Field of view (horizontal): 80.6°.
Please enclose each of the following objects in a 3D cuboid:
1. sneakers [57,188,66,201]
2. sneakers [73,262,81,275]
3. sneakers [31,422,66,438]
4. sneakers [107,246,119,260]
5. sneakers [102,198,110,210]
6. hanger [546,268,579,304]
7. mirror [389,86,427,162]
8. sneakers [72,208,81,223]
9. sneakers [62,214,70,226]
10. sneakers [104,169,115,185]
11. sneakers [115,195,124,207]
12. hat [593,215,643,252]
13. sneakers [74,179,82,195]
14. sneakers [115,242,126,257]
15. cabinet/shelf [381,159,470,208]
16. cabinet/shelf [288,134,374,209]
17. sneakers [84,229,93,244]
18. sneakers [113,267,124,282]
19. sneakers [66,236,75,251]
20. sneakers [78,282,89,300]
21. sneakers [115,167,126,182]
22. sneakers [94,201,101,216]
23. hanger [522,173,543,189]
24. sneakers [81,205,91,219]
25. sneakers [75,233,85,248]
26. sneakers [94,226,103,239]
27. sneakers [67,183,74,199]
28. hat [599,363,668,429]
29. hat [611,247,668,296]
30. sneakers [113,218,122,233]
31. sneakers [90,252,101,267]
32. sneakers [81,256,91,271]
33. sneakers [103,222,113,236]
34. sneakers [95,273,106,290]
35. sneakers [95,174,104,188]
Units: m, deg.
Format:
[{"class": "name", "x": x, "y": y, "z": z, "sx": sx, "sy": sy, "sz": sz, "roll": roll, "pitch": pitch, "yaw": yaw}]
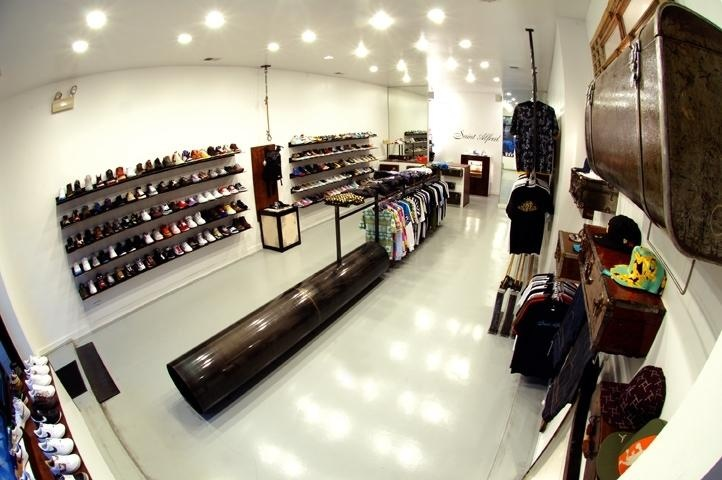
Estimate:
[{"class": "sneakers", "x": -3.563, "y": -0.547, "z": 5.081, "sx": 0.080, "sy": 0.226, "sz": 0.086, "roll": -7, "pitch": -27, "yaw": -35}, {"class": "sneakers", "x": -3.482, "y": 0.347, "z": 5.239, "sx": 0.071, "sy": 0.090, "sz": 0.215, "roll": -20, "pitch": 42, "yaw": -39}, {"class": "sneakers", "x": -2.511, "y": 1.527, "z": 3.427, "sx": 0.111, "sy": 0.079, "sz": 0.178, "roll": 24, "pitch": 21, "yaw": 37}, {"class": "sneakers", "x": -3.251, "y": 0.171, "z": 5.562, "sx": 0.076, "sy": 0.100, "sz": 0.225, "roll": -10, "pitch": 16, "yaw": -41}, {"class": "sneakers", "x": -3.277, "y": -0.463, "z": 5.467, "sx": 0.105, "sy": 0.108, "sz": 0.233, "roll": -15, "pitch": 20, "yaw": -24}, {"class": "hanger", "x": 1.884, "y": 0.408, "z": 3.912, "sx": 0.199, "sy": 0.092, "sz": 0.278, "roll": 24, "pitch": 42, "yaw": 28}, {"class": "mirror", "x": 1.236, "y": -3.127, "z": 11.419, "sx": 1.223, "sy": 1.846, "sz": 0.196, "roll": 1, "pitch": 18, "yaw": 22}, {"class": "sneakers", "x": -3.484, "y": -0.301, "z": 5.192, "sx": 0.096, "sy": 0.175, "sz": 0.061, "roll": -12, "pitch": -21, "yaw": -45}, {"class": "sneakers", "x": -3.541, "y": -0.243, "z": 5.118, "sx": 0.118, "sy": 0.079, "sz": 0.122, "roll": 3, "pitch": 15, "yaw": -23}, {"class": "sneakers", "x": -3.238, "y": -0.827, "z": 5.471, "sx": 0.124, "sy": 0.139, "sz": 0.339, "roll": -16, "pitch": 21, "yaw": -27}, {"class": "sneakers", "x": -3.155, "y": -0.512, "z": 5.570, "sx": 0.072, "sy": 0.135, "sz": 0.126, "roll": 7, "pitch": 4, "yaw": -21}, {"class": "hat", "x": 1.852, "y": -0.070, "z": 3.063, "sx": 0.331, "sy": 0.189, "sz": 0.257, "roll": 8, "pitch": 22, "yaw": 15}, {"class": "sneakers", "x": -3.443, "y": -0.635, "z": 5.162, "sx": 0.079, "sy": 0.095, "sz": 0.243, "roll": -8, "pitch": 39, "yaw": -31}, {"class": "sneakers", "x": -3.189, "y": 0.125, "z": 5.656, "sx": 0.081, "sy": 0.121, "sz": 0.269, "roll": -9, "pitch": 15, "yaw": -37}, {"class": "cabinet/shelf", "x": 1.627, "y": -1.505, "z": 10.895, "sx": 0.843, "sy": 1.028, "sz": 2.584, "roll": -21, "pitch": 23, "yaw": -39}, {"class": "cabinet/shelf", "x": -0.585, "y": -1.670, "z": 9.409, "sx": 0.326, "sy": 1.436, "sz": 3.118, "roll": 4, "pitch": 22, "yaw": 30}, {"class": "sneakers", "x": -3.415, "y": -0.047, "z": 5.330, "sx": 0.116, "sy": 0.132, "sz": 0.220, "roll": -17, "pitch": 21, "yaw": -31}, {"class": "sneakers", "x": -3.182, "y": 0.447, "z": 5.622, "sx": 0.086, "sy": 0.111, "sz": 0.256, "roll": -11, "pitch": 43, "yaw": -42}, {"class": "sneakers", "x": -3.551, "y": 0.048, "z": 5.200, "sx": 0.108, "sy": 0.163, "sz": 0.051, "roll": -13, "pitch": -12, "yaw": -44}, {"class": "sneakers", "x": -3.455, "y": 0.618, "z": 5.296, "sx": 0.116, "sy": 0.055, "sz": 0.230, "roll": -11, "pitch": 49, "yaw": -38}, {"class": "sneakers", "x": -3.123, "y": -0.852, "z": 5.529, "sx": 0.096, "sy": 0.128, "sz": 0.288, "roll": -16, "pitch": 29, "yaw": -29}, {"class": "sneakers", "x": -3.364, "y": -0.391, "z": 5.408, "sx": 0.073, "sy": 0.094, "sz": 0.214, "roll": -14, "pitch": 23, "yaw": -38}, {"class": "hanger", "x": 1.977, "y": -0.674, "z": 4.956, "sx": 0.216, "sy": 0.114, "sz": 0.306, "roll": 0, "pitch": 9, "yaw": 9}, {"class": "sneakers", "x": -3.409, "y": -0.343, "z": 5.270, "sx": 0.072, "sy": 0.100, "sz": 0.219, "roll": -10, "pitch": 19, "yaw": -37}, {"class": "sneakers", "x": -3.458, "y": 0.004, "z": 5.234, "sx": 0.068, "sy": 0.049, "sz": 0.204, "roll": -13, "pitch": 58, "yaw": -50}, {"class": "sneakers", "x": -3.349, "y": -0.092, "z": 5.429, "sx": 0.108, "sy": 0.130, "sz": 0.233, "roll": -17, "pitch": 21, "yaw": -31}, {"class": "sneakers", "x": -3.502, "y": -0.587, "z": 5.157, "sx": 0.081, "sy": 0.099, "sz": 0.252, "roll": -7, "pitch": 43, "yaw": -35}, {"class": "hat", "x": 1.614, "y": 0.934, "z": 2.515, "sx": 0.135, "sy": 0.379, "sz": 0.302, "roll": 17, "pitch": 40, "yaw": -26}, {"class": "hat", "x": 1.717, "y": 0.187, "z": 2.689, "sx": 0.329, "sy": 0.177, "sz": 0.281, "roll": 3, "pitch": 24, "yaw": 19}, {"class": "sneakers", "x": -3.211, "y": -0.187, "z": 5.601, "sx": 0.140, "sy": 0.117, "sz": 0.253, "roll": -13, "pitch": 20, "yaw": -20}, {"class": "sneakers", "x": -3.374, "y": 0.252, "z": 5.395, "sx": 0.237, "sy": 0.100, "sz": 0.082, "roll": 23, "pitch": 30, "yaw": 38}, {"class": "sneakers", "x": -3.430, "y": 0.298, "z": 5.331, "sx": 0.074, "sy": 0.102, "sz": 0.243, "roll": -15, "pitch": 28, "yaw": -39}, {"class": "sneakers", "x": -3.285, "y": -0.146, "z": 5.530, "sx": 0.157, "sy": 0.132, "sz": 0.278, "roll": -15, "pitch": 20, "yaw": -25}, {"class": "sneakers", "x": -3.337, "y": 0.539, "z": 5.440, "sx": 0.054, "sy": 0.172, "sz": 0.175, "roll": -16, "pitch": 3, "yaw": 31}, {"class": "sneakers", "x": -3.307, "y": -0.748, "z": 5.372, "sx": 0.111, "sy": 0.127, "sz": 0.360, "roll": -16, "pitch": 21, "yaw": -29}]
